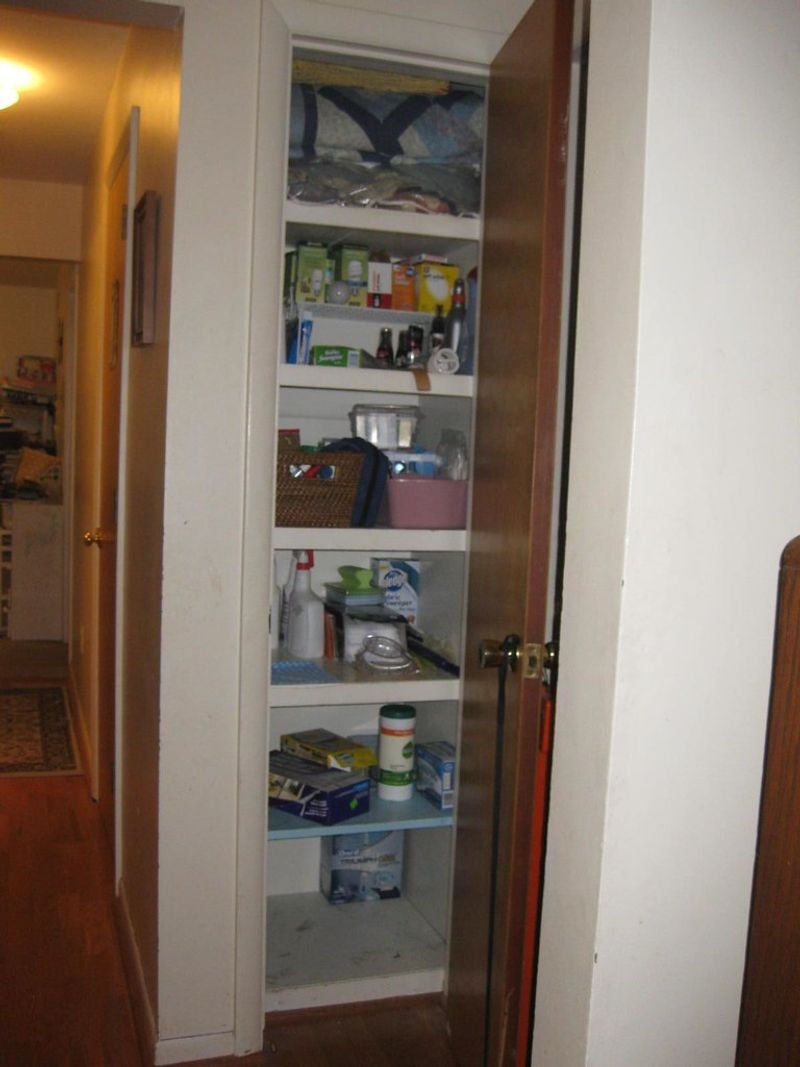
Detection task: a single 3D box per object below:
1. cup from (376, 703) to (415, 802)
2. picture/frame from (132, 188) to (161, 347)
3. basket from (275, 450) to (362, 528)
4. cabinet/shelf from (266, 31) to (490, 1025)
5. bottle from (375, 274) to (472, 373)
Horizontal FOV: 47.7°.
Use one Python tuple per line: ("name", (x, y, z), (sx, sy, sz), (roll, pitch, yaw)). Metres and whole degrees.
("cup", (-0.008, 0.548, 2.296), (0.100, 0.220, 0.106), (2, -3, 0))
("picture/frame", (-0.582, -0.597, 2.065), (0.029, 0.349, 0.226), (0, 15, -21))
("basket", (-0.192, -0.098, 2.051), (0.230, 0.210, 0.142), (2, 10, -6))
("cabinet/shelf", (-0.077, 0.008, 2.238), (0.527, 2.150, 0.701), (-1, 4, -9))
("bottle", (0.078, -0.511, 2.223), (0.234, 0.319, 0.208), (13, 19, 36))
